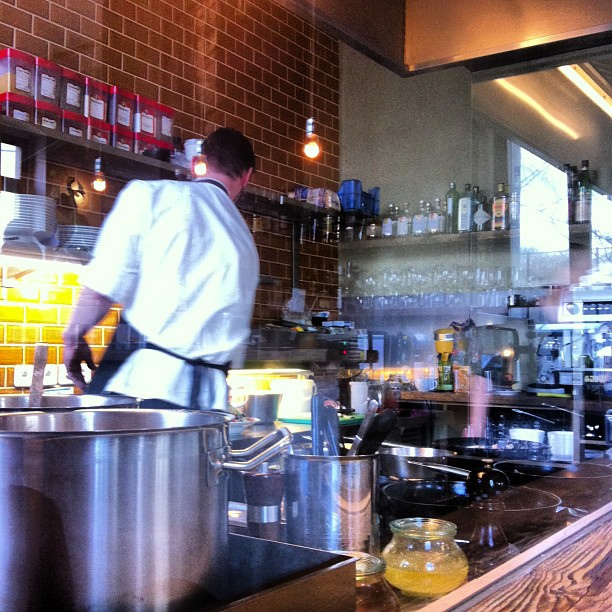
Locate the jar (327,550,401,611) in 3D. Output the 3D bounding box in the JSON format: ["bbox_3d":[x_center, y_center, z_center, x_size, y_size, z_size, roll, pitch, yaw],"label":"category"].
[{"bbox_3d":[0.063,0.256,0.683,0.071,0.050,0.059,4,-11,-17],"label":"jar"}]

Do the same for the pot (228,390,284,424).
[{"bbox_3d":[-0.052,0.105,0.747,0.052,0.022,0.041,-1,-4,12],"label":"pot"}]

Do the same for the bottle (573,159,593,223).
[{"bbox_3d":[1.388,-0.541,3.534,0.091,0.263,0.057,1,-2,23],"label":"bottle"}]

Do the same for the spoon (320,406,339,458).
[{"bbox_3d":[0.029,0.128,0.728,0.016,0.051,0.015,-4,8,24],"label":"spoon"}]

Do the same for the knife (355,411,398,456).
[{"bbox_3d":[0.079,0.144,0.800,0.026,0.013,0.092,12,-30,-21],"label":"knife"}]

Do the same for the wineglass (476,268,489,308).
[{"bbox_3d":[0.976,-0.099,3.914,0.110,0.220,0.038,3,-3,-36],"label":"wineglass"}]

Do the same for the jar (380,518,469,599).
[{"bbox_3d":[0.127,0.267,0.761,0.105,0.061,0.085,0,-2,1],"label":"jar"}]

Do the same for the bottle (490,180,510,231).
[{"bbox_3d":[1.057,-0.538,3.837,0.107,0.272,0.047,1,-2,9],"label":"bottle"}]

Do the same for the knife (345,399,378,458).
[{"bbox_3d":[0.063,0.138,0.788,0.012,0.074,0.008,34,-7,-23],"label":"knife"}]

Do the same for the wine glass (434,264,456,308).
[{"bbox_3d":[0.599,-0.069,3.066,0.113,0.156,0.102,8,-15,-26],"label":"wine glass"}]

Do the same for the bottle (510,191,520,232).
[{"bbox_3d":[1.127,-0.503,3.809,0.063,0.212,0.053,0,-3,34],"label":"bottle"}]

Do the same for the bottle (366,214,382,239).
[{"bbox_3d":[0.087,-0.099,0.894,0.018,0.032,0.028,1,-2,8],"label":"bottle"}]

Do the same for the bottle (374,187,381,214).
[{"bbox_3d":[0.093,-0.136,0.916,0.008,0.038,0.020,1,-2,7],"label":"bottle"}]

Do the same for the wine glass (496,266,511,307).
[{"bbox_3d":[1.093,-0.107,3.886,0.035,0.215,0.091,3,-3,-38],"label":"wine glass"}]
